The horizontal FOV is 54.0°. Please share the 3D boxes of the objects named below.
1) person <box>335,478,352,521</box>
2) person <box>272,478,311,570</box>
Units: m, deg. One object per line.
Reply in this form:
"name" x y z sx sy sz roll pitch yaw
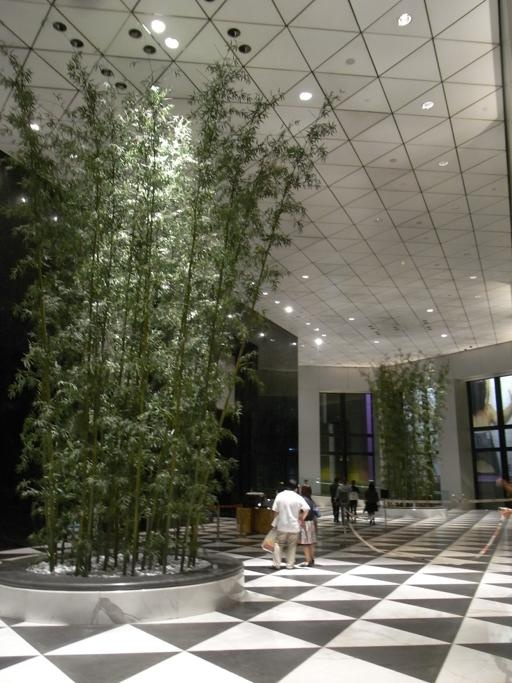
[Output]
"person" 1.872 3.519 10.621 0.263 0.968 0.247 9 -50 1
"person" 0.446 2.303 6.356 0.451 1.021 0.293 4 -4 4
